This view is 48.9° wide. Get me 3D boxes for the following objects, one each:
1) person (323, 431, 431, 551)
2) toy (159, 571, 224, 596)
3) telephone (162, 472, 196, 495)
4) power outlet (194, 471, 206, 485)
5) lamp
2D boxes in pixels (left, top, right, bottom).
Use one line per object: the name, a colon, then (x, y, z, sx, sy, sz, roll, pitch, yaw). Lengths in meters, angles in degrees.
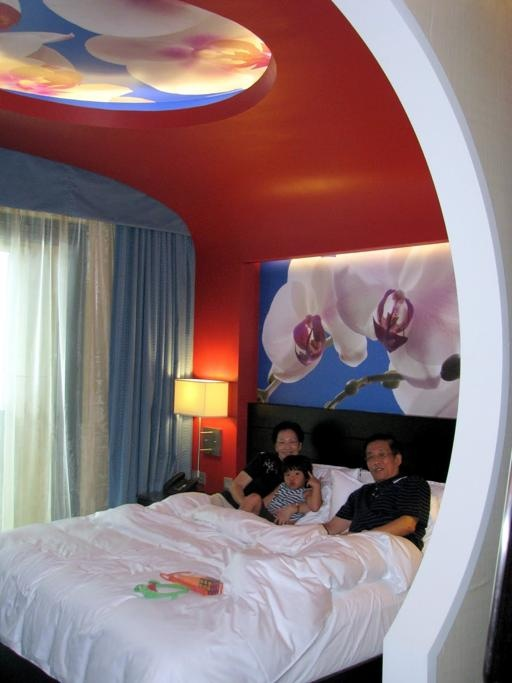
person: (0.642, 0.884, 3.209, 0.638, 0.741, 0.544, -5, -33, 15)
toy: (-0.243, 0.958, 2.241, 0.160, 0.038, 0.097, 5, 1, 33)
telephone: (-0.634, 1.200, 4.678, 0.188, 0.086, 0.243, 2, 10, 31)
power outlet: (-0.474, 1.182, 4.837, 0.034, 0.116, 0.127, 1, -1, -39)
lamp: (-0.388, 0.549, 4.579, 0.358, 1.074, 0.416, 5, -4, -38)
